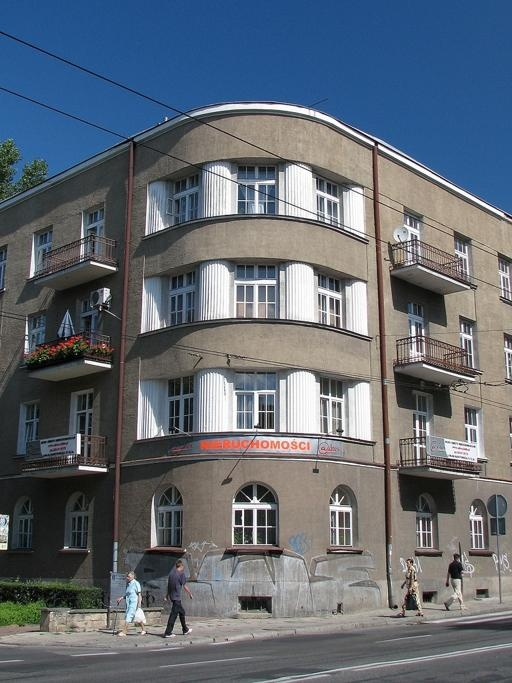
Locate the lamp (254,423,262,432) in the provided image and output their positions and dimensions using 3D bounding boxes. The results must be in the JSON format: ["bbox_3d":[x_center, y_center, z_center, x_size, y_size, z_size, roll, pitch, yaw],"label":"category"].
[{"bbox_3d":[0.048,2.669,23.082,0.138,0.223,0.077,4,-24,-13],"label":"lamp"}]

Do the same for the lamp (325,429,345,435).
[{"bbox_3d":[2.575,2.987,24.583,0.470,0.194,0.322,5,-8,-25],"label":"lamp"}]

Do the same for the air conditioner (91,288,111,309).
[{"bbox_3d":[-5.613,-1.603,27.265,0.721,0.913,0.579,2,-17,-11],"label":"air conditioner"}]

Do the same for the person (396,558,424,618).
[{"bbox_3d":[4.626,7.421,22.709,0.660,1.623,3.793,-4,-18,10],"label":"person"}]

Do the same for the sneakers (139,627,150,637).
[{"bbox_3d":[-2.537,6.581,16.898,0.107,0.153,0.331,-18,-34,16],"label":"sneakers"}]

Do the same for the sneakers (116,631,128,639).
[{"bbox_3d":[-2.943,6.486,16.545,0.131,0.171,0.378,-15,-30,25],"label":"sneakers"}]

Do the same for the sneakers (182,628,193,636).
[{"bbox_3d":[-1.535,6.530,16.822,0.117,0.168,0.365,1,-3,18],"label":"sneakers"}]
